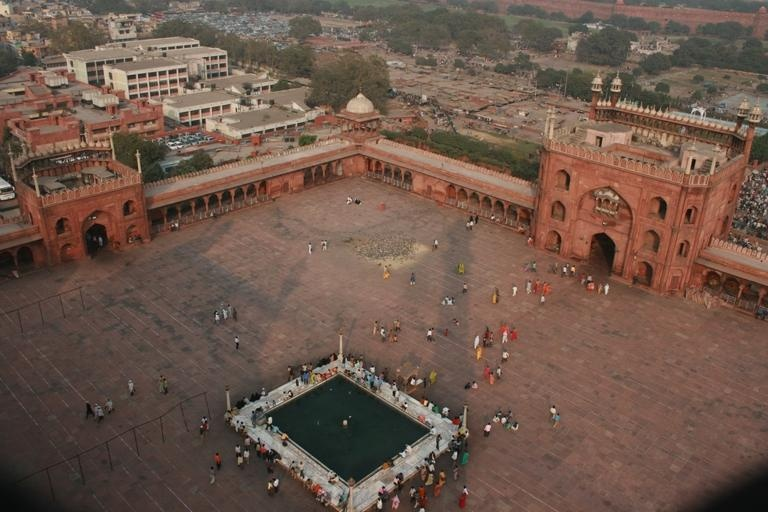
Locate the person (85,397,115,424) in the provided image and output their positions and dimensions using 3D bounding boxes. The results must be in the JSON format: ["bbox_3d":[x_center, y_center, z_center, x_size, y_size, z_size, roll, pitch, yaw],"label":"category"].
[{"bbox_3d":[-19.006,10.231,38.316,1.444,0.355,1.537,22,33,21],"label":"person"}]

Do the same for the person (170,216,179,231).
[{"bbox_3d":[-20.818,-3.233,57.787,0.818,0.714,1.648,-6,33,-12],"label":"person"}]

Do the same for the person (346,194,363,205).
[{"bbox_3d":[-3.290,-6.151,64.881,1.192,0.416,1.205,30,45,30],"label":"person"}]

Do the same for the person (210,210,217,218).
[{"bbox_3d":[-17.672,-4.355,59.993,0.720,0.527,0.714,-6,34,-13],"label":"person"}]
